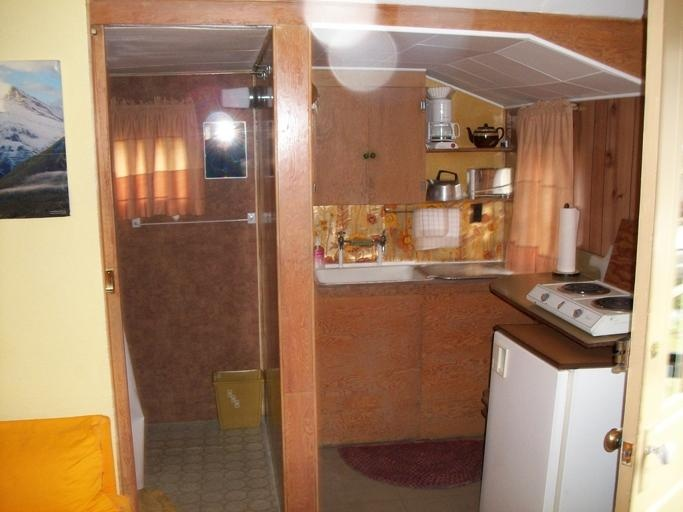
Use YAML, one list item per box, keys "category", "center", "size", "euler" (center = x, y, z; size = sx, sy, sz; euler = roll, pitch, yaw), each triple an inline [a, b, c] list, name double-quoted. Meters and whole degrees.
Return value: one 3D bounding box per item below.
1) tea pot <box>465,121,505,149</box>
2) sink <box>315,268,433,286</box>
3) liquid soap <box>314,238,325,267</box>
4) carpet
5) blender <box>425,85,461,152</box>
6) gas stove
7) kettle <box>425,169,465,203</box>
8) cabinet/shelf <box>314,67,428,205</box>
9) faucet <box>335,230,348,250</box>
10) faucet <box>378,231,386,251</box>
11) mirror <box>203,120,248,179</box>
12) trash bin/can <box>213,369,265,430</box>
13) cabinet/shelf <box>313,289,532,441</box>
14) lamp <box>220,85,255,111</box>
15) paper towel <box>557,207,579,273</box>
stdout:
- category: "tea pot"
  center: [1.055, -0.865, 4.176]
  size: [0.305, 0.200, 0.195]
  euler: [-1, 9, -3]
- category: "sink"
  center: [0.205, 0.124, 4.279]
  size: [0.767, 0.133, 0.171]
  euler: [-4, 6, -1]
- category: "liquid soap"
  center: [-0.155, -0.027, 4.266]
  size: [0.086, 0.192, 0.049]
  euler: [-6, 7, -15]
- category: "carpet"
  center: [0.459, 1.281, 3.574]
  size: [0.940, 0.091, 0.497]
  euler: [-4, 6, -1]
- category: "blender"
  center: [0.716, -0.989, 4.127]
  size: [0.262, 0.422, 0.254]
  euler: [-11, 14, -34]
- category: "gas stove"
  center: [1.182, 0.225, 2.660]
  size: [0.443, 0.140, 0.574]
  euler: [-4, 6, -8]
- category: "kettle"
  center: [0.756, -0.504, 4.190]
  size: [0.204, 0.235, 0.329]
  euler: [-3, 8, -18]
- category: "cabinet/shelf"
  center: [0.173, -0.857, 3.930]
  size: [0.997, 0.939, 0.379]
  euler: [0, 4, -5]
- category: "faucet"
  center: [0.015, -0.126, 4.269]
  size: [0.097, 0.143, 0.091]
  euler: [-4, 7, -5]
- category: "faucet"
  center: [0.299, -0.117, 4.305]
  size: [0.034, 0.111, 0.081]
  euler: [6, 7, -4]
- category: "mirror"
  center: [-0.799, -0.745, 3.906]
  size: [0.413, 0.508, 0.033]
  euler: [-1, 9, -9]
- category: "trash bin/can"
  center: [-0.686, 0.965, 4.213]
  size: [0.458, 0.529, 0.384]
  euler: [0, 9, -6]
- category: "cabinet/shelf"
  center: [0.448, 0.585, 4.048]
  size: [1.856, 1.168, 0.925]
  euler: [-1, 3, -6]
- category: "lamp"
  center: [-0.546, -0.829, 3.015]
  size: [0.146, 0.083, 0.171]
  euler: [-5, 7, -16]
- category: "paper towel"
  center: [1.255, -0.091, 3.200]
  size: [0.114, 0.361, 0.193]
  euler: [-1, 7, 21]
